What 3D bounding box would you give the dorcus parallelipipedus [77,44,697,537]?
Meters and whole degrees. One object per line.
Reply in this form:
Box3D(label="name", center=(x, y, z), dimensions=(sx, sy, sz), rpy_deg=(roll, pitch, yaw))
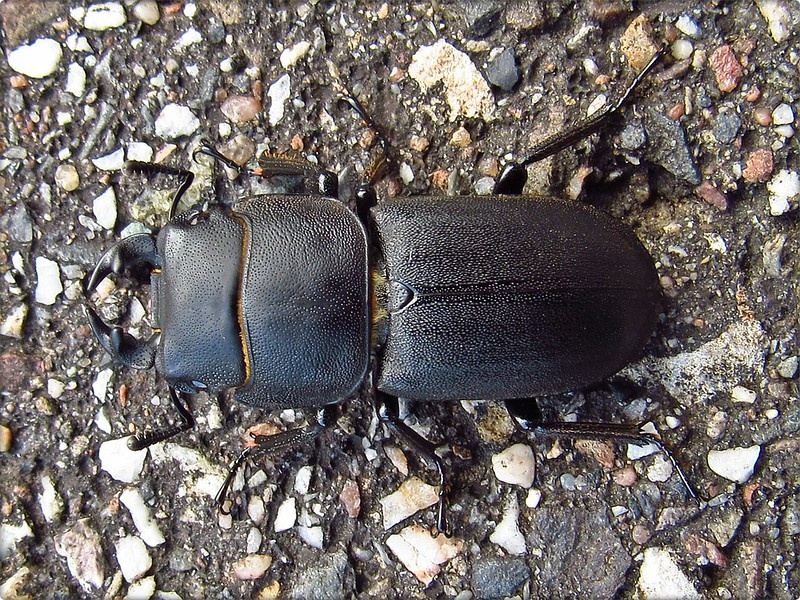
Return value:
Box3D(label="dorcus parallelipipedus", center=(-0.029, -0.336, 4.668), dimensions=(2.839, 2.667, 1.534), rpy_deg=(-6, -60, 1))
